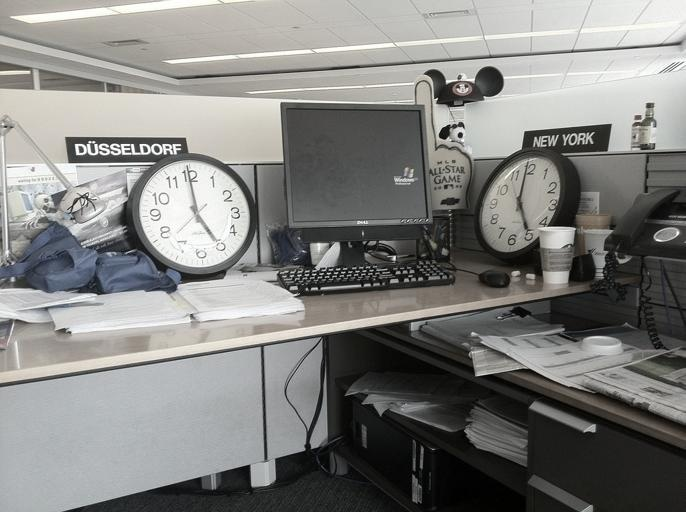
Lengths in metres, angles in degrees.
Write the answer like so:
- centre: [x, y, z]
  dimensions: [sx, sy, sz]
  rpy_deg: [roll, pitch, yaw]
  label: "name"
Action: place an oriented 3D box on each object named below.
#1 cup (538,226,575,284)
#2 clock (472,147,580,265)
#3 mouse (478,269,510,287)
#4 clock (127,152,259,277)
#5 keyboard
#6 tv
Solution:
- centre: [0.638, -0.005, 1.582]
  dimensions: [0.094, 0.163, 0.134]
  rpy_deg: [-2, 13, 10]
  label: "cup"
- centre: [0.632, -0.162, 1.802]
  dimensions: [0.095, 0.434, 0.392]
  rpy_deg: [15, 3, -34]
  label: "clock"
- centre: [0.444, 0.068, 1.551]
  dimensions: [0.088, 0.044, 0.058]
  rpy_deg: [-1, 13, 14]
  label: "mouse"
- centre: [-0.487, -0.123, 1.668]
  dimensions: [0.427, 0.444, 0.072]
  rpy_deg: [-5, -9, -29]
  label: "clock"
- centre: [0.062, 0.063, 1.581]
  dimensions: [0.503, 0.069, 0.200]
  rpy_deg: [-7, 13, -16]
  label: "keyboard"
- centre: [0.036, -0.249, 1.736]
  dimensions: [0.608, 0.592, 0.175]
  rpy_deg: [-2, 1, -17]
  label: "tv"
